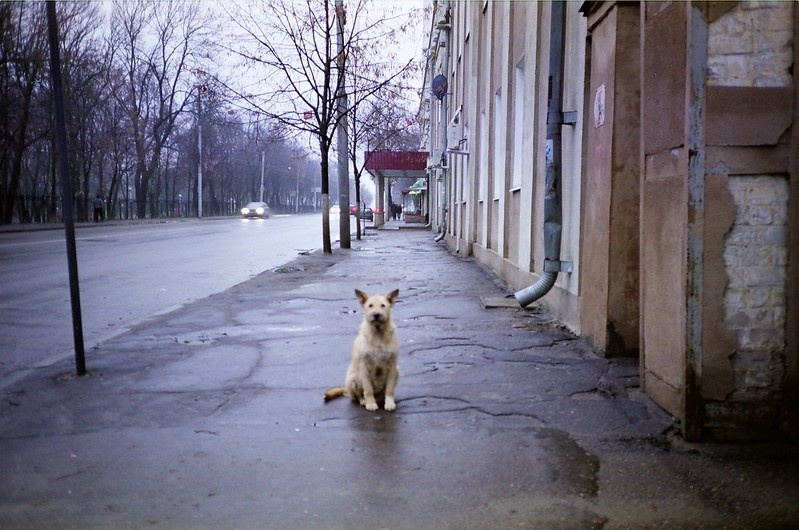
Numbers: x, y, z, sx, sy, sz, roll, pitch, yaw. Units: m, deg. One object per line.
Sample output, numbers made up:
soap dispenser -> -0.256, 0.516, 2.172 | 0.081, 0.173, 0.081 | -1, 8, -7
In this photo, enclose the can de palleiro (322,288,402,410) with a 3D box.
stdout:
can de palleiro -> -0.398, 0.825, 6.984 | 0.689, 1.196, 0.856 | -3, 5, -35
